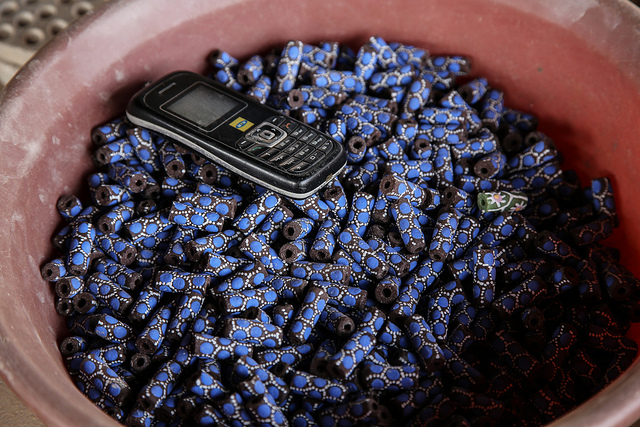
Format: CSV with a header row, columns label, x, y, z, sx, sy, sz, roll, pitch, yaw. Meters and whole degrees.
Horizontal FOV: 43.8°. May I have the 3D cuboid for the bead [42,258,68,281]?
label,x,y,z,sx,sy,sz,roll,pitch,yaw
bead,-0.970,0.210,2.888,0.063,0.079,0.072,-25,91,22
